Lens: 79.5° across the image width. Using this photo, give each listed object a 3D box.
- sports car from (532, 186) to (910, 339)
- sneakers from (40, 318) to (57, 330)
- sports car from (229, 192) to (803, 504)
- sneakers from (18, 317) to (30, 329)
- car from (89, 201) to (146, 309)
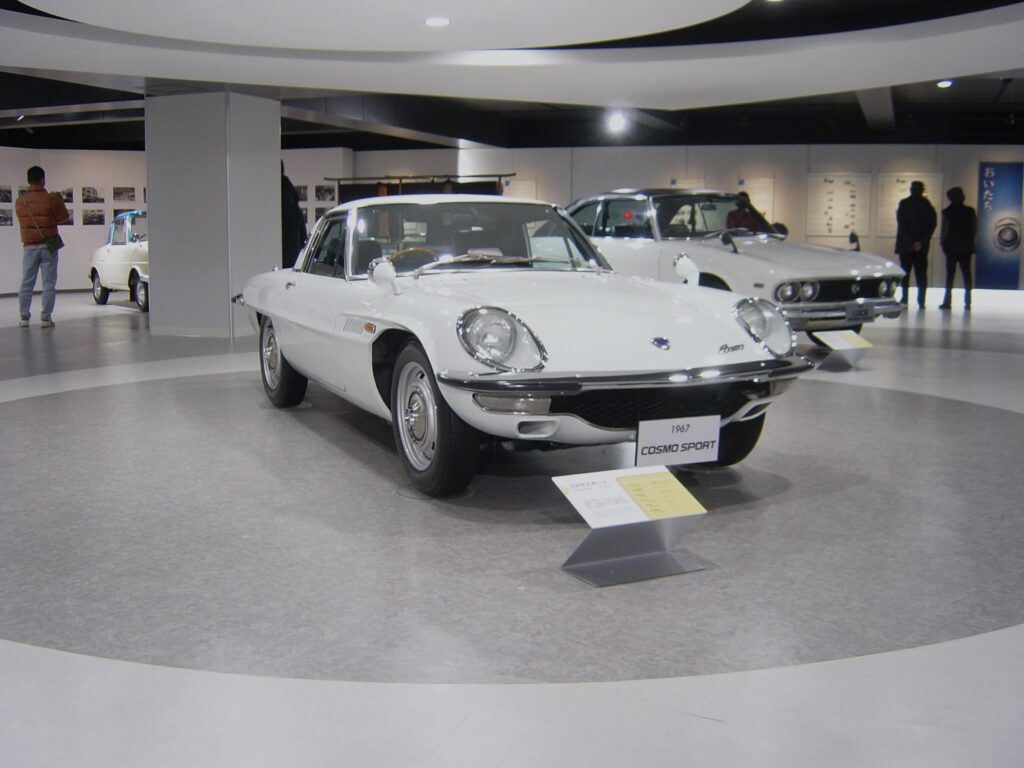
[{"bbox_3d":[2.193,-1.492,7.797,1.993,1.104,3.867,-9,16,-38],"label":"sports car"},{"bbox_3d":[-7.525,-0.975,10.063,0.265,0.163,0.135,-11,17,-38],"label":"sneakers"},{"bbox_3d":[-0.408,-0.283,3.908,1.632,0.992,3.228,-3,8,-29],"label":"sports car"},{"bbox_3d":[-7.975,-1.005,10.185,0.160,0.138,0.324,-5,6,-38],"label":"sneakers"},{"bbox_3d":[-8.091,-2.597,12.945,0.802,2.067,2.518,-9,13,-41],"label":"car"}]
